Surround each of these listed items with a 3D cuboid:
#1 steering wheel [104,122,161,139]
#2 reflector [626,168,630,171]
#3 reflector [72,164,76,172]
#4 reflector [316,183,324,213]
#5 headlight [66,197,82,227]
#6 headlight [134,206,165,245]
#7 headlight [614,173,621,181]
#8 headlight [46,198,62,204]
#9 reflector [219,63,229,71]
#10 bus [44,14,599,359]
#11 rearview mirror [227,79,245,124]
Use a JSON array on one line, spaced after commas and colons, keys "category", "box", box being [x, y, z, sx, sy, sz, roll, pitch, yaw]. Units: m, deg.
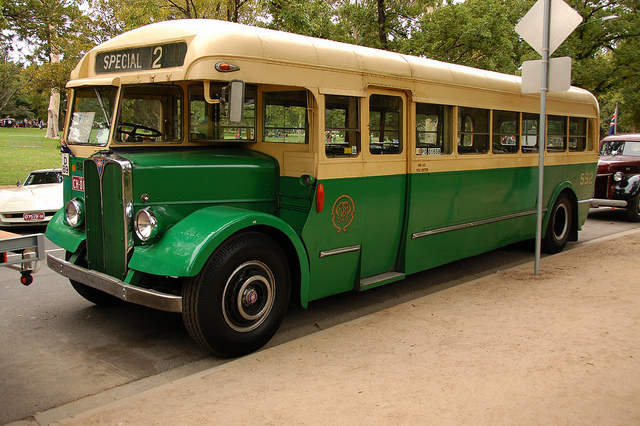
[{"category": "steering wheel", "box": [-2.594, -1.186, 6.491, 0.102, 0.232, 0.640, 8, 15, 34]}, {"category": "reflector", "box": [9.820, -1.386, 14.369, 0.068, 0.063, 0.064, 0, 7, 2]}, {"category": "reflector", "box": [-3.471, -0.630, 6.343, 0.012, 0.097, 0.092, -10, 12, -38]}, {"category": "reflector", "box": [0.003, -0.209, 6.199, 0.040, 0.396, 0.146, 9, 16, 40]}, {"category": "headlight", "box": [-3.404, -0.003, 6.223, 0.341, 0.370, 0.111, 10, 16, 40]}, {"category": "headlight", "box": [-2.090, 0.131, 5.590, 0.395, 0.412, 0.322, 1, 9, 21]}, {"category": "headlight", "box": [9.468, -1.138, 14.337, 0.178, 0.230, 0.112, 8, 14, 33]}, {"category": "headlight", "box": [-6.857, -0.308, 11.597, 0.342, 0.109, 0.282, -8, 15, -31]}, {"category": "reflector", "box": [-1.162, -1.771, 5.467, 0.118, 0.083, 0.036, -3, 12, -14]}, {"category": "bus", "box": [0.444, -0.700, 7.348, 8.707, 4.274, 2.510, -8, 14, -30]}, {"category": "rearview mirror", "box": [-1.019, -1.344, 5.438, 0.212, 0.508, 0.189, -3, 12, -10]}]
